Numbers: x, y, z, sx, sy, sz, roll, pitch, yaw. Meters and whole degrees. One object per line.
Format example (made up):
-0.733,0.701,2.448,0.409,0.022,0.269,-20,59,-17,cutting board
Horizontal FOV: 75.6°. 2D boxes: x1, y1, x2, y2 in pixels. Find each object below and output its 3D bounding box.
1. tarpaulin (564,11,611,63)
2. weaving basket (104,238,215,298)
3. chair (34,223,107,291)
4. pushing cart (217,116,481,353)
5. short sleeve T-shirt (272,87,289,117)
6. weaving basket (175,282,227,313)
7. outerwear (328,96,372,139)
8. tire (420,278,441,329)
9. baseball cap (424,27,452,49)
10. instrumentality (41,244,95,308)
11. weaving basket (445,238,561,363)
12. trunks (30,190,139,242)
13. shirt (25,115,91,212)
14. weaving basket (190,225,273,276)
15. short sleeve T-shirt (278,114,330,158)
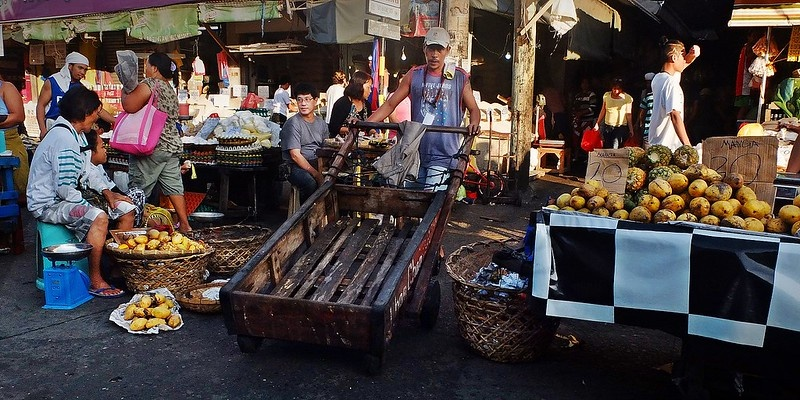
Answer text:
5.307,-4.491,13.976,0.210,1.352,2.012,-13,24,-12,tarpaulin
-3.400,0.990,7.386,0.980,0.357,0.952,-5,10,-37,weaving basket
-5.205,0.821,7.641,0.831,0.879,0.859,-16,-3,36,chair
-0.405,0.445,7.286,2.607,1.712,4.052,1,31,15,pushing cart
-3.178,-2.624,13.553,0.566,0.668,0.285,22,21,24,short sleeve T-shirt
-2.770,1.381,7.174,0.624,0.161,0.606,2,14,5,weaving basket
-0.894,-1.464,9.281,0.490,0.810,0.833,18,39,39,outerwear
0.381,1.378,6.864,0.207,0.595,0.619,2,19,14,tire
0.557,-2.399,7.627,0.300,0.298,0.333,6,13,20,baseball cap
-4.792,1.104,7.399,0.750,0.777,0.728,-7,1,-22,instrumentality
1.451,1.424,6.872,1.546,1.052,1.521,-3,7,-3,weaving basket
-4.757,0.145,7.753,1.404,0.525,1.241,7,15,-31,trunks
-4.992,-0.476,7.437,0.824,1.396,0.343,1,12,-1,shirt
-2.601,0.734,8.088,0.912,0.415,0.901,-11,16,-37,weaving basket
-1.690,-1.095,9.050,0.568,0.804,1.045,20,18,36,short sleeve T-shirt
